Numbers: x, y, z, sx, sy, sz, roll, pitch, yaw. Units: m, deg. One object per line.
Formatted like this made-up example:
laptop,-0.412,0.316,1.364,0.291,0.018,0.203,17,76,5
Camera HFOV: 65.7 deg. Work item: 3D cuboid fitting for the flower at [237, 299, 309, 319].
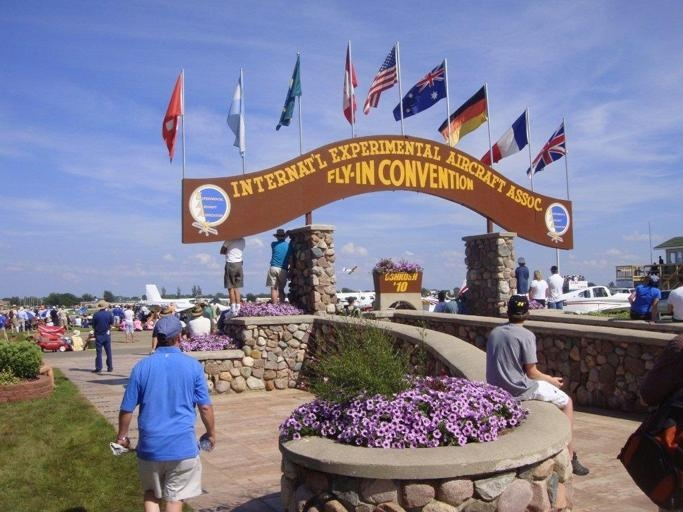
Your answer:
flower,-1.880,1.403,13.918,1.677,0.317,0.760,0,-4,-15

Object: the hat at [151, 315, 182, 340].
hat,-1.762,0.703,5.448,0.179,0.155,0.288,-3,21,-1

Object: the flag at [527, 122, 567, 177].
flag,7.679,-4.105,19.715,1.169,2.059,1.983,-2,-3,22

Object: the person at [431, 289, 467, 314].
person,3.670,1.524,17.753,0.973,0.824,2.147,-2,-4,18

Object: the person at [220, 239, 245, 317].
person,-2.832,0.528,13.791,0.538,2.008,1.105,0,-3,-13

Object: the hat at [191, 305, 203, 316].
hat,-3.826,1.482,14.031,0.280,0.118,0.310,1,7,0

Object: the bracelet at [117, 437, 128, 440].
bracelet,-2.187,1.847,5.323,0.058,0.024,0.048,-4,-2,17

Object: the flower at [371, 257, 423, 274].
flower,1.750,0.376,16.446,1.196,0.443,0.868,5,-6,-9

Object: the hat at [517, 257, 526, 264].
hat,3.850,0.129,11.383,0.105,0.096,0.102,-13,26,17
